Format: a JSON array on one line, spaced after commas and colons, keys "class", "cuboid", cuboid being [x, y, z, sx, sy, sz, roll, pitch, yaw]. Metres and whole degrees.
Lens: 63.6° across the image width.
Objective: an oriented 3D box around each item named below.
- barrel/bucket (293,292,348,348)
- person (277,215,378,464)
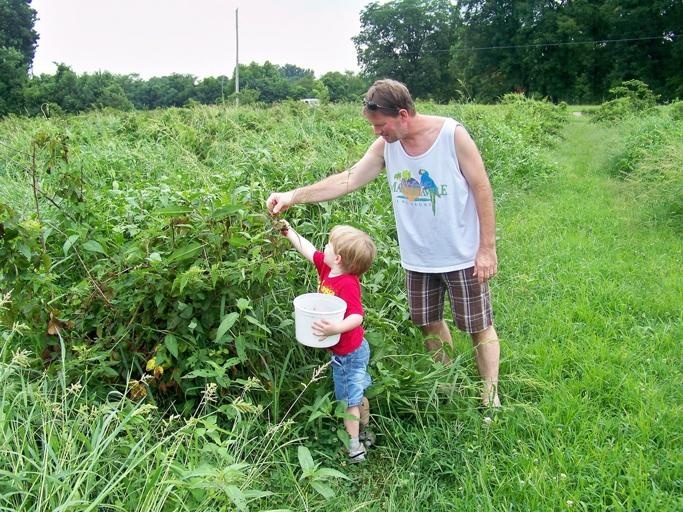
[{"class": "barrel/bucket", "cuboid": [-0.145, 0.448, 3.734, 0.295, 0.361, 0.384, -8, 10, -42]}, {"class": "person", "cuboid": [-0.032, 0.595, 3.853, 0.537, 1.614, 0.560, 0, 8, 9]}]
